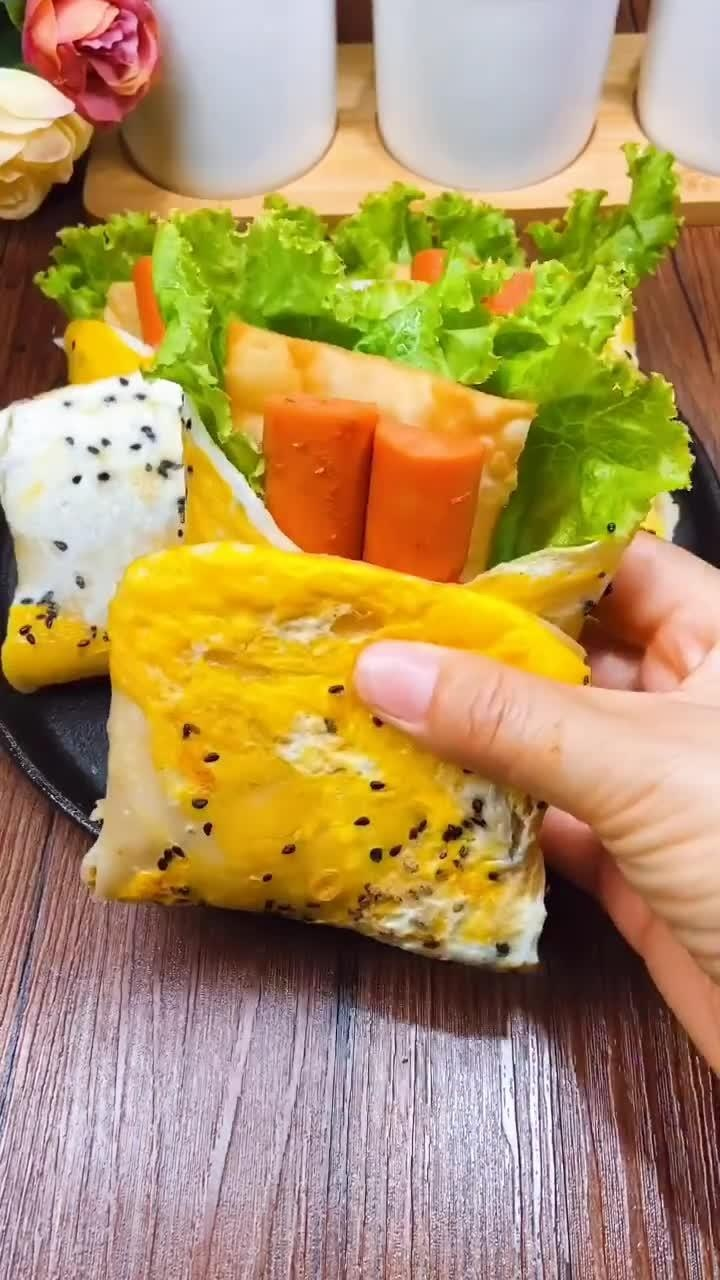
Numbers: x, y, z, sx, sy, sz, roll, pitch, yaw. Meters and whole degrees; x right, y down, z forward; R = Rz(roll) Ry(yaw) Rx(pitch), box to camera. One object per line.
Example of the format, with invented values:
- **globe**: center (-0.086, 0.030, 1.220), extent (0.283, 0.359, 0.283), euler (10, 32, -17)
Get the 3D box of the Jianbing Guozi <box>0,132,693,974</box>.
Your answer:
- **Jianbing Guozi**: center (-0.020, -0.020, 0.710), extent (0.553, 0.212, 0.588), euler (1, 72, -4)
